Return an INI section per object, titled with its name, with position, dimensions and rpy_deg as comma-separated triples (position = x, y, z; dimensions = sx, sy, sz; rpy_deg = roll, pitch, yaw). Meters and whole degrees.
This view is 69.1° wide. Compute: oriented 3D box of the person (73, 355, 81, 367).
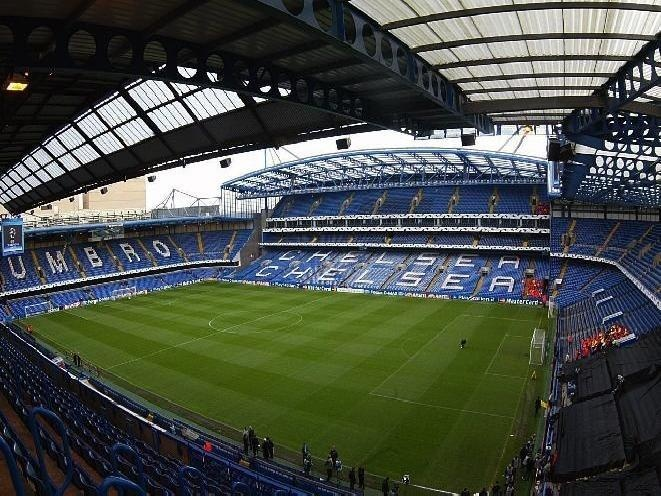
[person]
position = -16.005, 7.072, 30.100
dimensions = 0.234, 0.703, 0.538
rpy_deg = -7, -6, 1
